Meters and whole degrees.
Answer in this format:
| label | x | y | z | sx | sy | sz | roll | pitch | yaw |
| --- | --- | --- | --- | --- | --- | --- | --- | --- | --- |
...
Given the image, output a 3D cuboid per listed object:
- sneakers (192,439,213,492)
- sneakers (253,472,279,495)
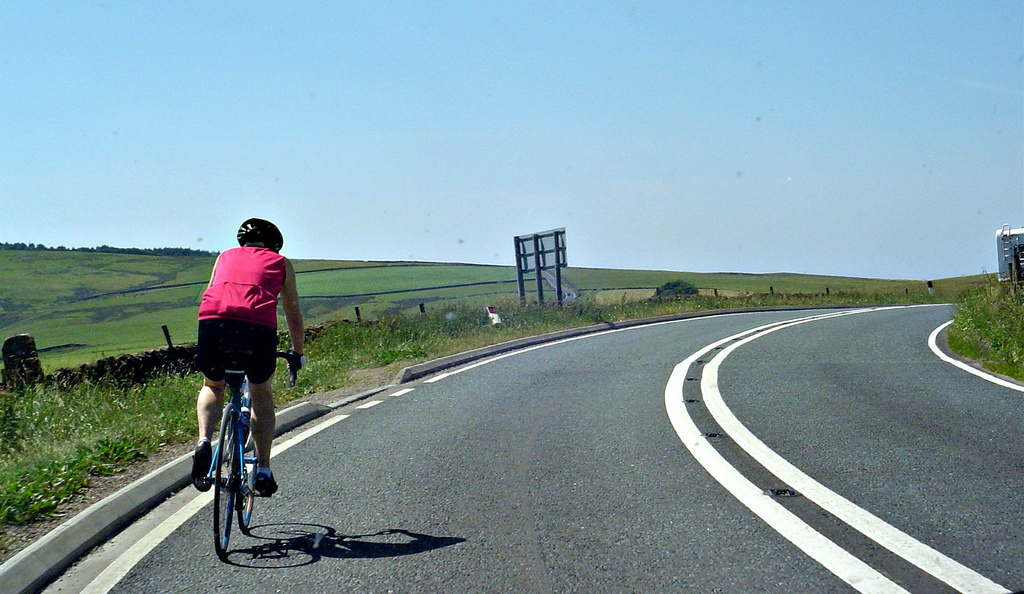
| label | x | y | z | sx | sy | sz | roll | pitch | yaw |
| --- | --- | --- | --- | --- | --- | --- | --- | --- | --- |
| sneakers | -3.100 | 1.708 | 6.903 | 0.178 | 0.525 | 0.216 | 4 | -4 | -16 |
| sneakers | -2.593 | 1.986 | 7.237 | 0.122 | 0.153 | 0.333 | 2 | 0 | 0 |
